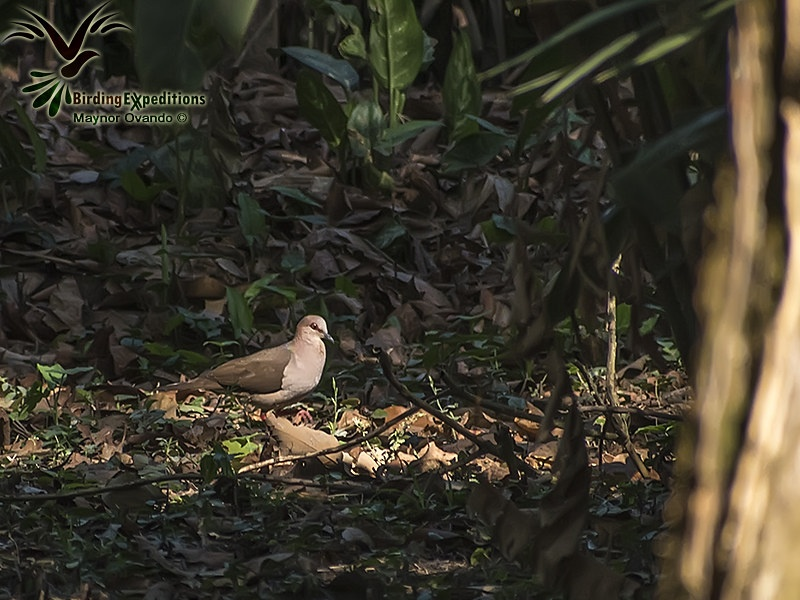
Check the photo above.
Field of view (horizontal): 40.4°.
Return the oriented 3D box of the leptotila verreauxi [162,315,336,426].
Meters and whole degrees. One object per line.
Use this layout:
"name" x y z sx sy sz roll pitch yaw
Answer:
"leptotila verreauxi" -0.437 0.215 3.430 0.602 0.311 0.170 0 7 20
